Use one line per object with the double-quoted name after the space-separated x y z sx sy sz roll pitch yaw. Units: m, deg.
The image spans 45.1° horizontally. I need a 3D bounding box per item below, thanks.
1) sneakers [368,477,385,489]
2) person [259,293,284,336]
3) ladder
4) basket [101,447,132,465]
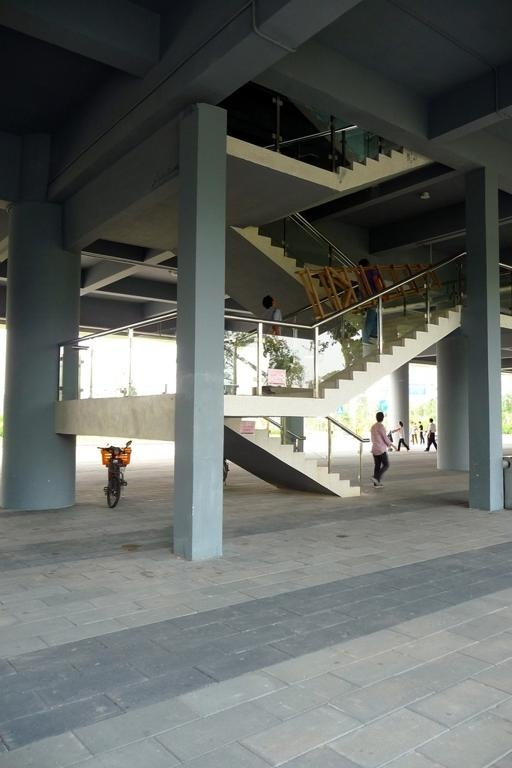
2.398 1.995 12.290 0.164 0.210 0.492 -3 -19 20 "sneakers"
0.255 -1.041 9.218 0.240 0.422 1.012 7 29 -15 "person"
2.332 -1.795 11.412 2.621 0.633 0.579 -13 1 -27 "ladder"
-2.098 1.118 9.596 0.345 0.253 0.526 -6 -12 26 "basket"
